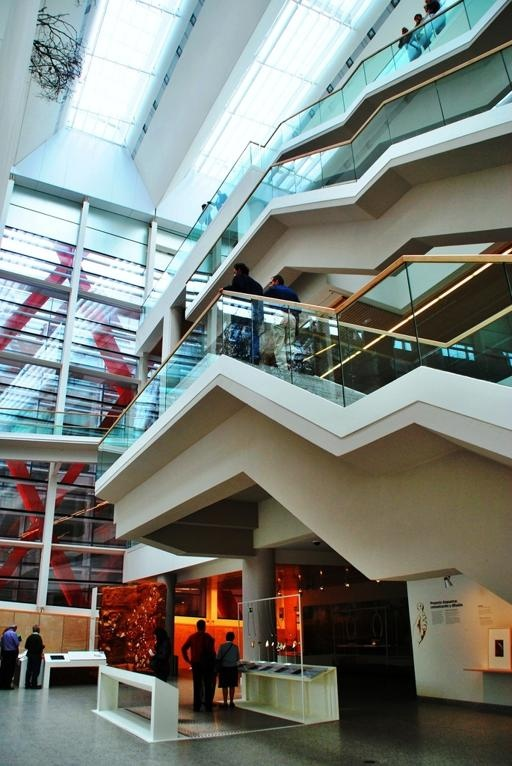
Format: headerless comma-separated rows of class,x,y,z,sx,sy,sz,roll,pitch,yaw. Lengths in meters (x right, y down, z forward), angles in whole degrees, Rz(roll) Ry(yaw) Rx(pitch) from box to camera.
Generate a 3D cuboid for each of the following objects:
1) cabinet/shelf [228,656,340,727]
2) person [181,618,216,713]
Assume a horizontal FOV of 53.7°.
cabinet/shelf,0.378,4.025,6.738,1.192,0.411,0.291,-13,-22,30
person,-0.786,4.085,7.284,0.395,1.190,0.642,-6,-18,17
